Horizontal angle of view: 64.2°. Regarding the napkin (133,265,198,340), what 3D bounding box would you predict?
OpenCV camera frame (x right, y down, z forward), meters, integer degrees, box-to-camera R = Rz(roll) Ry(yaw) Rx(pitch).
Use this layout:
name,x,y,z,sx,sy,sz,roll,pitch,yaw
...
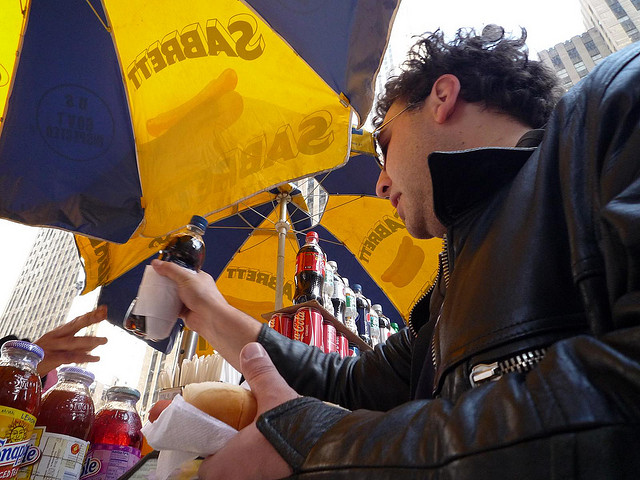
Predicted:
name,x,y,z,sx,sy,sz,roll,pitch,yaw
napkin,-0.647,0.257,2.055,0.203,0.293,0.097,11,-26,-29

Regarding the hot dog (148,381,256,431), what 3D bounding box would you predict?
name,x,y,z,sx,sy,sz,roll,pitch,yaw
hot dog,-0.344,0.508,1.565,0.224,0.133,0.173,12,-11,12

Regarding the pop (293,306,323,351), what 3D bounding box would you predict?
name,x,y,z,sx,sy,sz,roll,pitch,yaw
pop,-0.059,0.449,2.755,0.154,0.158,0.275,11,-59,10

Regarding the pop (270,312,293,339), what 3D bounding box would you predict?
name,x,y,z,sx,sy,sz,roll,pitch,yaw
pop,-0.197,0.458,2.807,0.139,0.166,0.144,1,-39,-4

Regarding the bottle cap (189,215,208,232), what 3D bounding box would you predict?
name,x,y,z,sx,sy,sz,roll,pitch,yaw
bottle cap,-0.537,-0.074,2.254,0.063,0.054,0.065,22,-32,-4

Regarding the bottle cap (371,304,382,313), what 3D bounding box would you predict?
name,x,y,z,sx,sy,sz,roll,pitch,yaw
bottle cap,0.467,0.553,4.202,0.076,0.061,0.077,8,-23,-13

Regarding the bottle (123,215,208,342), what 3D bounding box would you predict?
name,x,y,z,sx,sy,sz,roll,pitch,yaw
bottle,-0.647,0.171,2.275,0.187,0.607,0.214,8,-18,30
